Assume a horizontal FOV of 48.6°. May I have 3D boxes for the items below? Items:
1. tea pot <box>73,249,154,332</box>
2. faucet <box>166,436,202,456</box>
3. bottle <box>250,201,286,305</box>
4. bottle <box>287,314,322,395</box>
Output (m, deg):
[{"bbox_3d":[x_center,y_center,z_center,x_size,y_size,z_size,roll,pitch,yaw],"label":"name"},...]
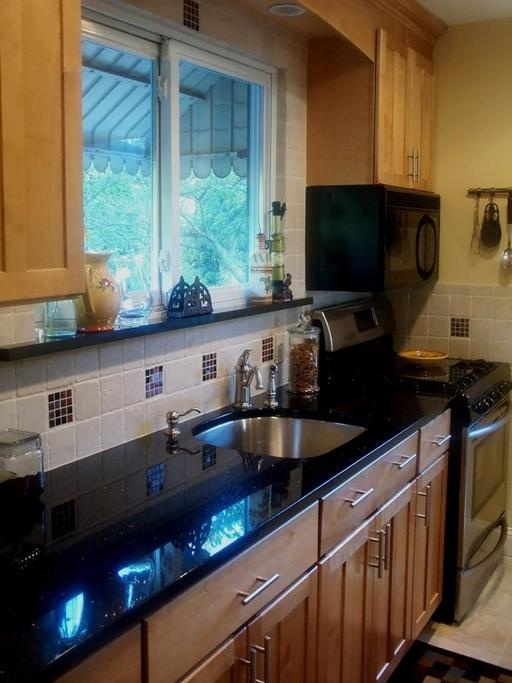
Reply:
[{"bbox_3d":[-0.405,-0.135,1.562,0.128,0.220,0.220,1,0,22],"label":"tea pot"},{"bbox_3d":[-0.216,0.303,1.608,0.038,0.041,0.108,-4,9,-37],"label":"faucet"},{"bbox_3d":[0.053,-0.376,2.362,0.144,0.417,0.247,1,5,3],"label":"bottle"},{"bbox_3d":[0.196,0.052,2.342,0.124,0.321,0.122,1,4,0],"label":"bottle"}]
